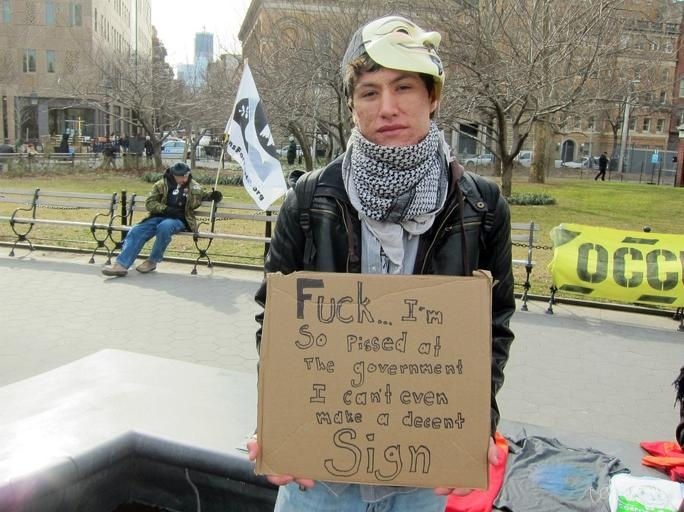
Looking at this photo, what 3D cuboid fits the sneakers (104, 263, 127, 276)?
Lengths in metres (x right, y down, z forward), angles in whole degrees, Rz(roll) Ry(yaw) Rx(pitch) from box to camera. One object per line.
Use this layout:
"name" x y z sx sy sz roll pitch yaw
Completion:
"sneakers" -3.639 0.223 9.692 0.420 0.185 0.198 -2 -6 -22

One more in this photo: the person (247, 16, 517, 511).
"person" 0.218 0.043 2.606 1.174 2.116 0.689 -1 14 -4

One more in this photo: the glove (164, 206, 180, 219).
"glove" -2.962 -0.778 10.376 0.155 0.223 0.201 15 13 33

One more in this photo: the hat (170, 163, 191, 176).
"hat" -2.830 -1.512 10.378 0.322 0.218 0.306 -3 15 -14

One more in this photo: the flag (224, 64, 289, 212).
"flag" -1.483 -2.021 10.015 0.902 2.808 0.251 -1 -19 -14

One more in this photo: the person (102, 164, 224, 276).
"person" -3.088 -0.738 10.286 1.031 1.626 2.876 15 23 14

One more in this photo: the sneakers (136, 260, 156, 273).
"sneakers" -3.327 0.178 10.080 0.157 0.188 0.430 32 3 2
